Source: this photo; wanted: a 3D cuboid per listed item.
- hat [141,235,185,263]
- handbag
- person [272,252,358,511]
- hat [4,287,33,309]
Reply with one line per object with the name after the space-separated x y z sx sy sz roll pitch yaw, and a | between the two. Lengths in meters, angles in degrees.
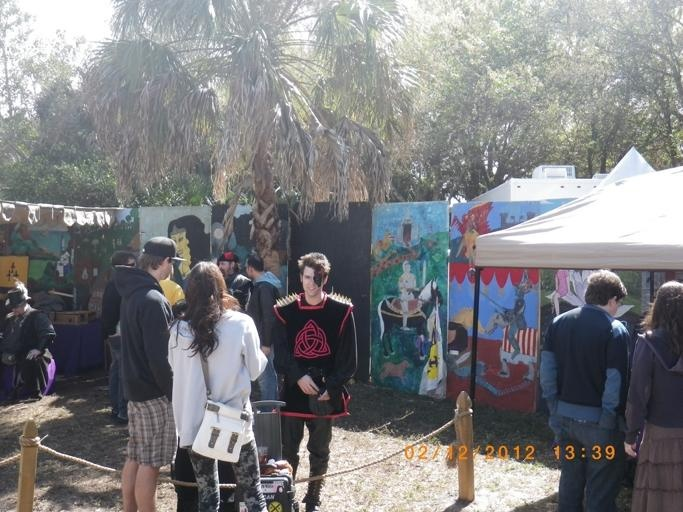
-2.010 -0.076 8.396 0.351 0.245 0.252 4 5 -31 | hat
-1.211 1.749 7.369 0.437 0.494 0.262 19 -11 -20 | handbag
-0.307 1.460 8.500 0.921 2.954 0.542 -1 -1 -7 | person
-5.186 0.684 11.972 0.342 0.347 0.424 0 -2 -24 | hat
